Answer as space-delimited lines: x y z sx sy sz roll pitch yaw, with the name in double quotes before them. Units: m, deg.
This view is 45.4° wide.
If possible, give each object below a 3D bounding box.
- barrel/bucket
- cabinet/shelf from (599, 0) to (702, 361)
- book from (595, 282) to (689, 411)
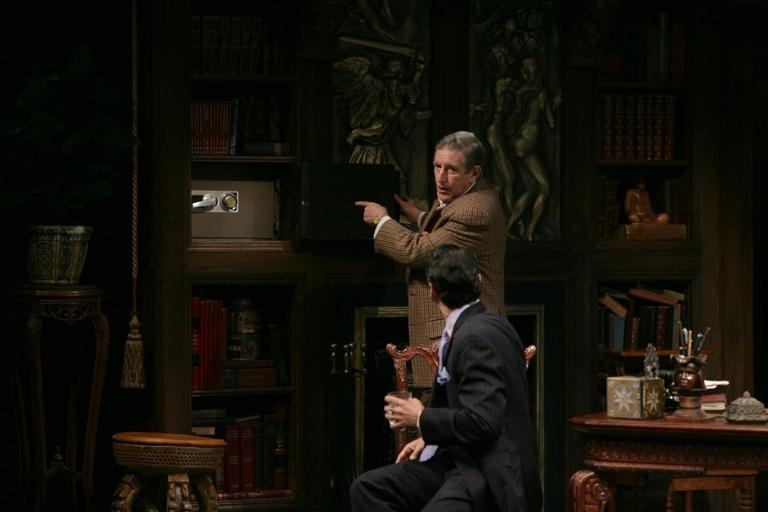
"barrel/bucket" -2.036 0.016 5.796 0.350 0.306 0.368 1 -5 0
"cabinet/shelf" 1.897 -0.208 6.869 0.717 2.418 0.555 1 -2 15
"book" 1.870 0.646 6.672 0.657 0.920 0.343 -1 -4 10
